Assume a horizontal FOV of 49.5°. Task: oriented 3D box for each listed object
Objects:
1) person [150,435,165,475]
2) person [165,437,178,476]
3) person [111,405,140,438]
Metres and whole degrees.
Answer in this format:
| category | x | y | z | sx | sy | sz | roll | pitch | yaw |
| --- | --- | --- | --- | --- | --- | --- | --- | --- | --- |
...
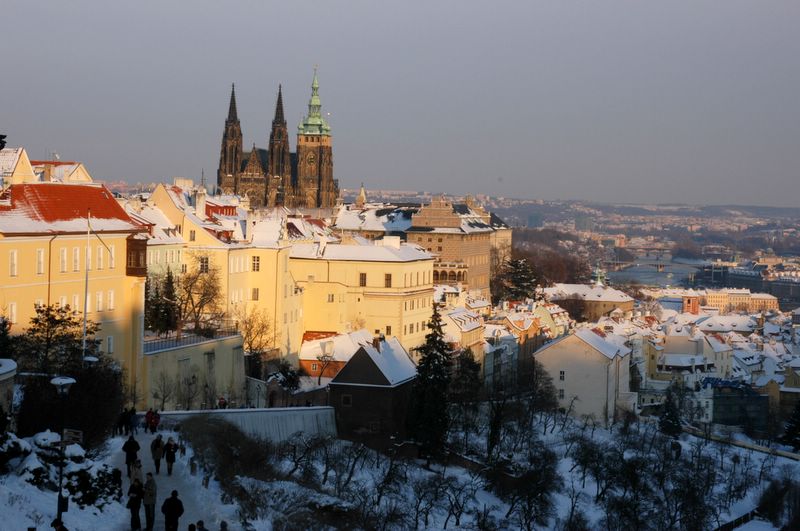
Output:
| category | x | y | z | sx | sy | sz | roll | pitch | yaw |
| --- | --- | --- | --- | --- | --- | --- | --- | --- | --- |
| person | -8.366 | 6.525 | 30.165 | 0.386 | 1.371 | 1.323 | -1 | -1 | -15 |
| person | -8.003 | 6.634 | 30.358 | 0.381 | 1.301 | 1.392 | -1 | -1 | -15 |
| person | -10.862 | 6.216 | 34.280 | 0.994 | 1.607 | 0.585 | 9 | -7 | 8 |
